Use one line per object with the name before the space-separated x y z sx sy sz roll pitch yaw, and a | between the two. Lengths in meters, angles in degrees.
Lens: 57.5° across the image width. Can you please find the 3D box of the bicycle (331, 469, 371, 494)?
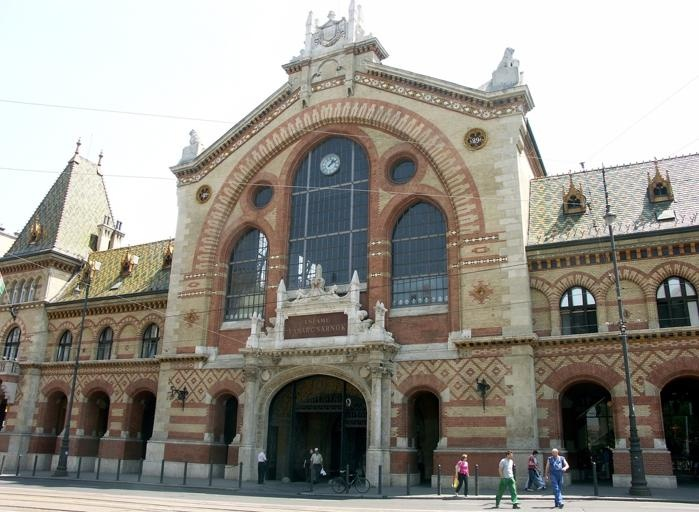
bicycle | 0.054 11.492 32.396 2.596 1.368 1.197 -5 -32 7

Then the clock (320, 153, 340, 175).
clock | -1.273 -5.945 41.107 1.505 1.352 0.355 2 -7 35
